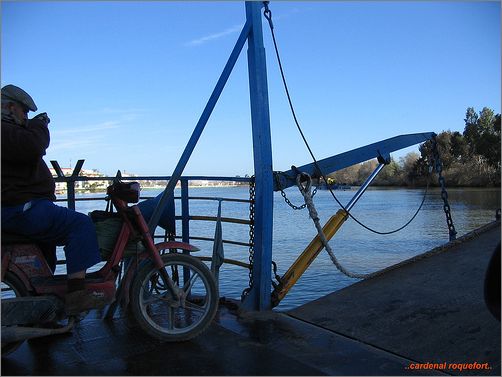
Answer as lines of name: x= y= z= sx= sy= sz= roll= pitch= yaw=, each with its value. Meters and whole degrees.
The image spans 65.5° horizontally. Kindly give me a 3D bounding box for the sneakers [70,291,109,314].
sneakers: x=-1.474 y=1.004 z=3.543 sx=0.354 sy=0.177 sz=0.122 roll=-6 pitch=3 yaw=-28
